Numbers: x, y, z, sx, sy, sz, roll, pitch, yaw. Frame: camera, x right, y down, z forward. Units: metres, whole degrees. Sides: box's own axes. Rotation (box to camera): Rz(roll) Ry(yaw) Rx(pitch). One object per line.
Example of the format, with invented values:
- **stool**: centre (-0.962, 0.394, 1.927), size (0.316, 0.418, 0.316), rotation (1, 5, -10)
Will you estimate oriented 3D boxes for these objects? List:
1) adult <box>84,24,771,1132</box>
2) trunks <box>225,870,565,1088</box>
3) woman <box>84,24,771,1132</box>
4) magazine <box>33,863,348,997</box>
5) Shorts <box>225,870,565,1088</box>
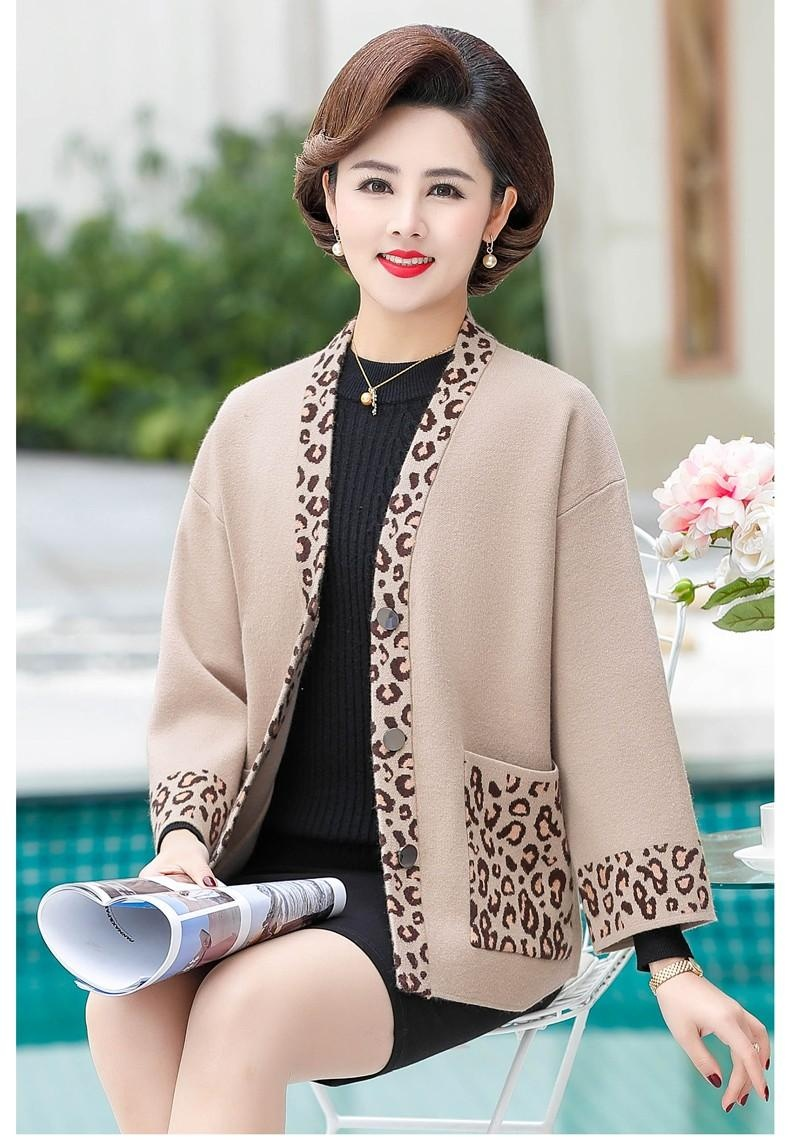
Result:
- **adult**: centre (-0.036, -0.036, 1.052), size (0.521, 0.942, 0.538), rotation (-5, 6, -10)
- **trunks**: centre (0.014, 0.343, 1.028), size (0.224, 0.072, 0.219), rotation (-3, 11, -44)
- **woman**: centre (-0.036, -0.036, 1.052), size (0.521, 0.942, 0.538), rotation (-5, 6, -10)
- **magazine**: centre (-0.154, 0.239, 0.901), size (0.105, 0.055, 0.185), rotation (11, 10, 42)
- **Shorts**: centre (0.010, 0.297, 1.011), size (0.224, 0.072, 0.219), rotation (-3, 11, -44)
